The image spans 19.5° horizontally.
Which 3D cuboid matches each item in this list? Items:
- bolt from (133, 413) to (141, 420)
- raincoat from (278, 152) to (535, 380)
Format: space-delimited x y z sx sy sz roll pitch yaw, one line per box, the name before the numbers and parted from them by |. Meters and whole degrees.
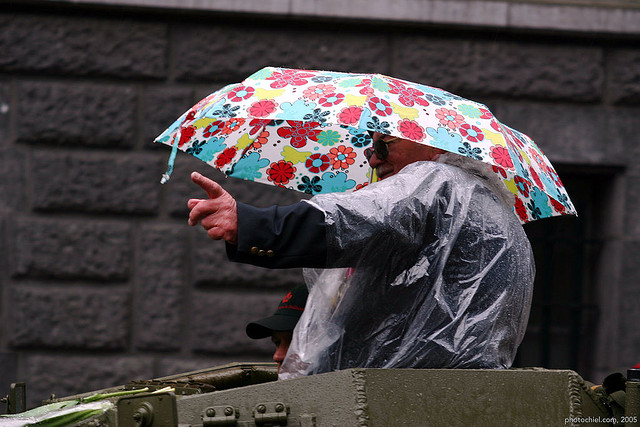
bolt | -1.499 1.670 15.167 0.061 0.012 0.047 3 45 -5
raincoat | 0.765 0.511 15.497 1.910 1.833 0.682 5 9 4
